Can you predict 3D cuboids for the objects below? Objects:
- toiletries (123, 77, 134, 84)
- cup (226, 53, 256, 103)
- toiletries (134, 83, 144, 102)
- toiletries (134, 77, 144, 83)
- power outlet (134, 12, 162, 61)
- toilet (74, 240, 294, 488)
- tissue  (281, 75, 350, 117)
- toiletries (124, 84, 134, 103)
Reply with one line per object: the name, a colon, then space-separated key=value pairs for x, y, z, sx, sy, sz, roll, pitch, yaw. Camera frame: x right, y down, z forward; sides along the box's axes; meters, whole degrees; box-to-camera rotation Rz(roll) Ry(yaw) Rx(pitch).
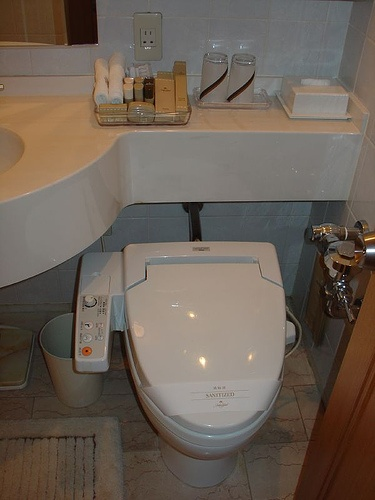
toiletries: x=-0.144 y=-0.417 z=0.908 sx=0.024 sy=0.009 sz=0.020 roll=-9 pitch=67 yaw=-8
cup: x=0.162 y=-0.469 z=1.008 sx=0.120 sy=0.117 sz=0.073 roll=-21 pitch=38 yaw=-36
toiletries: x=-0.120 y=-0.383 z=0.897 sx=0.025 sy=0.038 sz=0.027 roll=-13 pitch=50 yaw=-14
toiletries: x=-0.123 y=-0.422 z=0.918 sx=0.017 sy=0.004 sz=0.020 roll=7 pitch=70 yaw=-2
power outlet: x=-0.106 y=-0.566 z=0.983 sx=0.076 sy=0.122 sz=0.011 roll=-7 pitch=59 yaw=-10
toilet: x=-0.018 y=0.317 z=1.087 sx=0.522 sy=0.560 sz=0.582 roll=-2 pitch=46 yaw=-3
tissue : x=0.343 y=-0.421 z=1.016 sx=0.163 sy=0.087 sz=0.181 roll=4 pitch=31 yaw=-2
toiletries: x=-0.143 y=-0.378 z=0.886 sx=0.024 sy=0.037 sz=0.026 roll=-19 pitch=70 yaw=-11
